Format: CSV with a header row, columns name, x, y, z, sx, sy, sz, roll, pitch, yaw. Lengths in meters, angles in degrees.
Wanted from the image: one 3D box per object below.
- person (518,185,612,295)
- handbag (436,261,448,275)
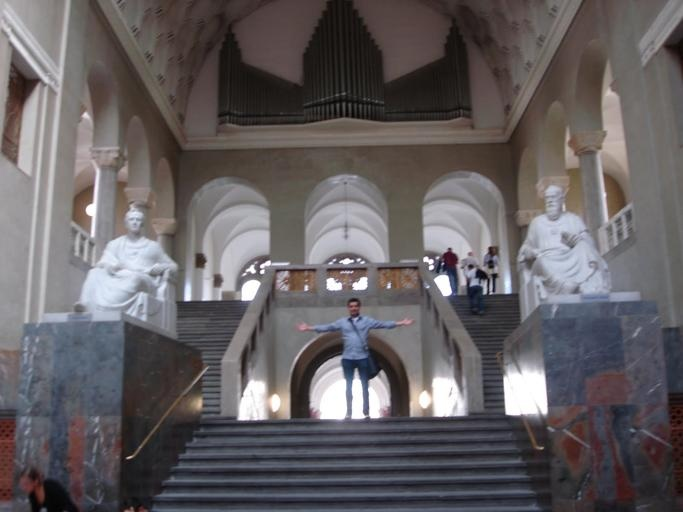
name,x,y,z,sx,sy,sz,roll,pitch,yaw
person,2.889,-0.185,11.838,0.899,1.684,1.220,7,-14,-26
handbag,2.483,0.309,22.534,0.212,0.355,0.361,1,-15,0
